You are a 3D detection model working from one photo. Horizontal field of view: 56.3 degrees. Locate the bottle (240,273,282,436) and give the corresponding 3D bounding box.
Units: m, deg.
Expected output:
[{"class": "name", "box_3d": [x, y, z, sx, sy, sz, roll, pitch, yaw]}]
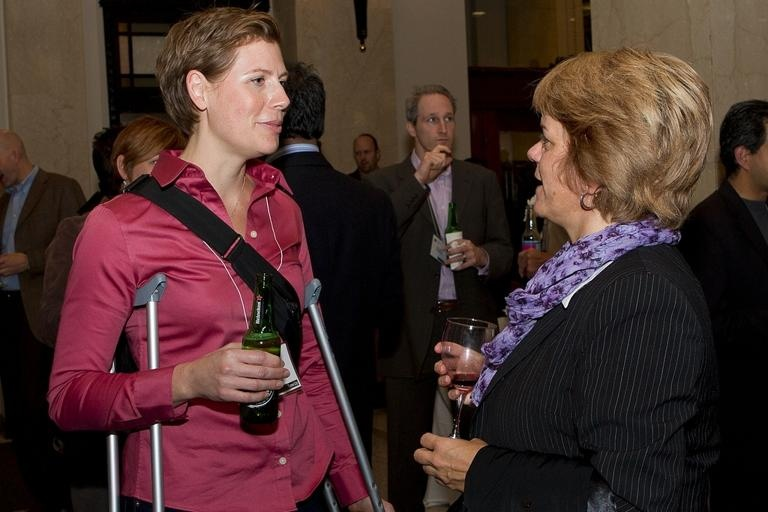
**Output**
[{"class": "bottle", "box_3d": [-0.418, 0.337, 2.426, 0.145, 0.570, 0.165, -3, 6, -20]}]
